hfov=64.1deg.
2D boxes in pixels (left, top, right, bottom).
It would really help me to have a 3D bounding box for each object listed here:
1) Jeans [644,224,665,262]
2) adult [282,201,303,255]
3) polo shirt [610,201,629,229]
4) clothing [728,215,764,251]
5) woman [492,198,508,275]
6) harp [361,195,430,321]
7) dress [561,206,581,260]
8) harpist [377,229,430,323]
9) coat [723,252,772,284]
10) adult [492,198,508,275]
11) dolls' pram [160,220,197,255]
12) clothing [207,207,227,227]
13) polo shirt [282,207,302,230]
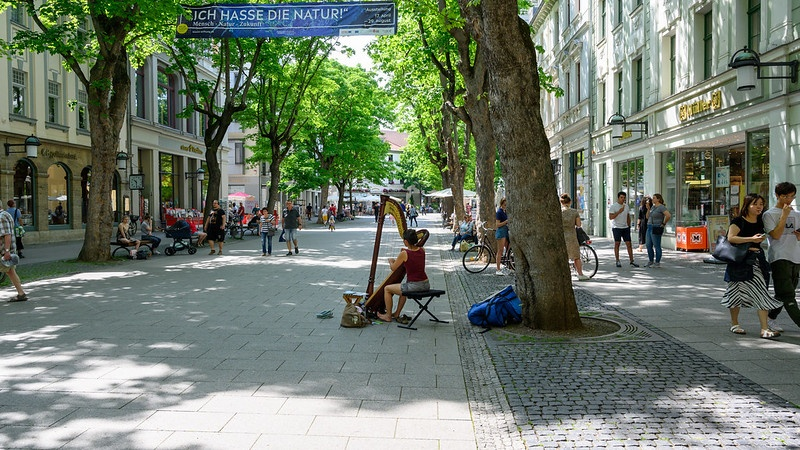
[{"bbox_3d":[8.649,0.652,21.610,0.559,1.414,0.687,9,-4,-12],"label":"Jeans"},{"bbox_3d":[-4.560,0.080,27.091,1.066,2.292,0.679,-2,-3,23],"label":"adult"},{"bbox_3d":[7.455,-0.314,21.618,0.606,0.905,0.503,-1,2,16],"label":"polo shirt"},{"bbox_3d":[7.814,0.191,14.365,0.775,0.680,0.401,6,-6,-12],"label":"clothing"},{"bbox_3d":[3.339,0.360,20.935,0.433,2.459,0.979,-2,2,10],"label":"woman"},{"bbox_3d":[-0.097,0.856,15.965,1.470,3.172,1.481,-1,0,3],"label":"harp"},{"bbox_3d":[5.243,0.285,19.636,0.624,1.585,0.394,-4,3,-37],"label":"dress"},{"bbox_3d":[0.062,1.265,15.730,1.380,2.199,0.830,-2,-1,40],"label":"harpist"},{"bbox_3d":[7.889,0.984,14.735,0.964,0.859,0.712,-3,3,-15],"label":"coat"},{"bbox_3d":[3.341,0.360,20.944,0.433,2.459,0.997,-2,2,10],"label":"adult"},{"bbox_3d":[-9.066,0.385,26.694,1.642,1.501,1.293,0,10,-17],"label":"dolls' pram"},{"bbox_3d":[-7.952,-0.337,27.449,0.965,0.786,0.511,-1,-9,20],"label":"clothing"},{"bbox_3d":[-4.653,-0.295,27.217,0.623,0.928,1.263,-2,2,-10],"label":"polo shirt"}]
